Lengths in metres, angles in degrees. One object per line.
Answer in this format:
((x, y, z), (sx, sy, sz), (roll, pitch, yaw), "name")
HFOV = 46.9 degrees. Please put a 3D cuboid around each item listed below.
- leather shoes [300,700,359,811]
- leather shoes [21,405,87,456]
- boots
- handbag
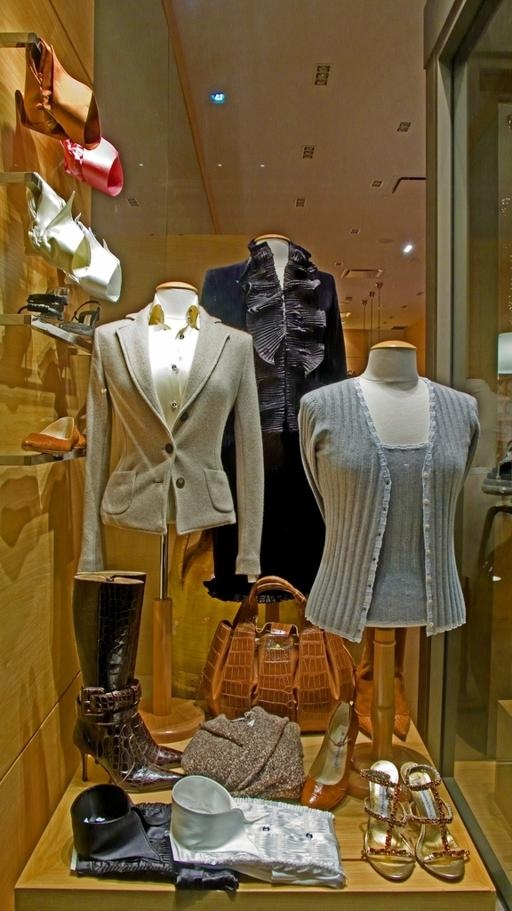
((0.205, 0.735, 1.519), (0.087, 0.294, 0.105), (5, -37, 26), "leather shoes")
((-0.499, -0.043, 1.477), (0.055, 0.079, 0.184), (4, 4, 15), "leather shoes")
((-0.325, 0.569, 1.492), (0.268, 0.536, 0.149), (1, 1, -9), "boots")
((0.066, 0.715, 1.788), (0.436, 0.342, 0.252), (-3, -41, 4), "handbag")
